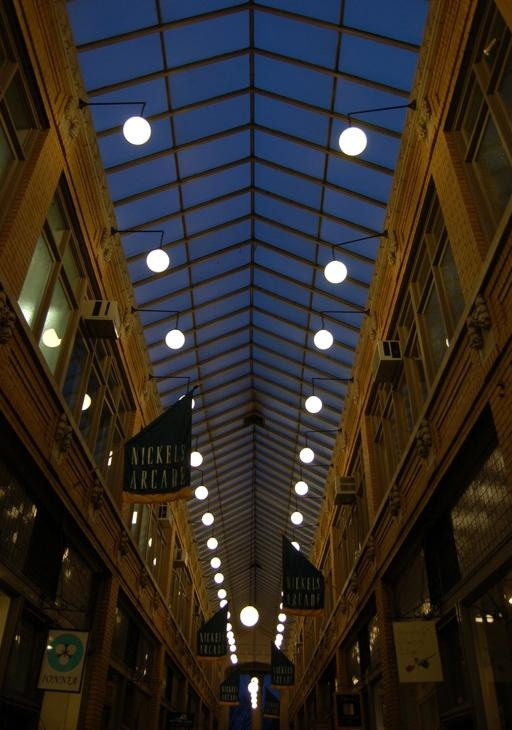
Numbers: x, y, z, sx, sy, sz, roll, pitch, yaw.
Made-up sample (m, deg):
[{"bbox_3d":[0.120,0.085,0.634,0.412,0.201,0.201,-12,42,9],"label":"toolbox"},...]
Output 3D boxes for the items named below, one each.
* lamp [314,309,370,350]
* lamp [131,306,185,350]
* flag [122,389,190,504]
[{"bbox_3d":[2.345,-0.985,13.086,1.389,1.771,0.605,1,-16,6],"label":"lamp"},{"bbox_3d":[-2.701,-1.024,12.993,1.049,1.265,0.513,-1,-36,1],"label":"lamp"},{"bbox_3d":[-1.544,1.358,8.257,1.198,2.222,0.586,-7,-34,12],"label":"flag"}]
